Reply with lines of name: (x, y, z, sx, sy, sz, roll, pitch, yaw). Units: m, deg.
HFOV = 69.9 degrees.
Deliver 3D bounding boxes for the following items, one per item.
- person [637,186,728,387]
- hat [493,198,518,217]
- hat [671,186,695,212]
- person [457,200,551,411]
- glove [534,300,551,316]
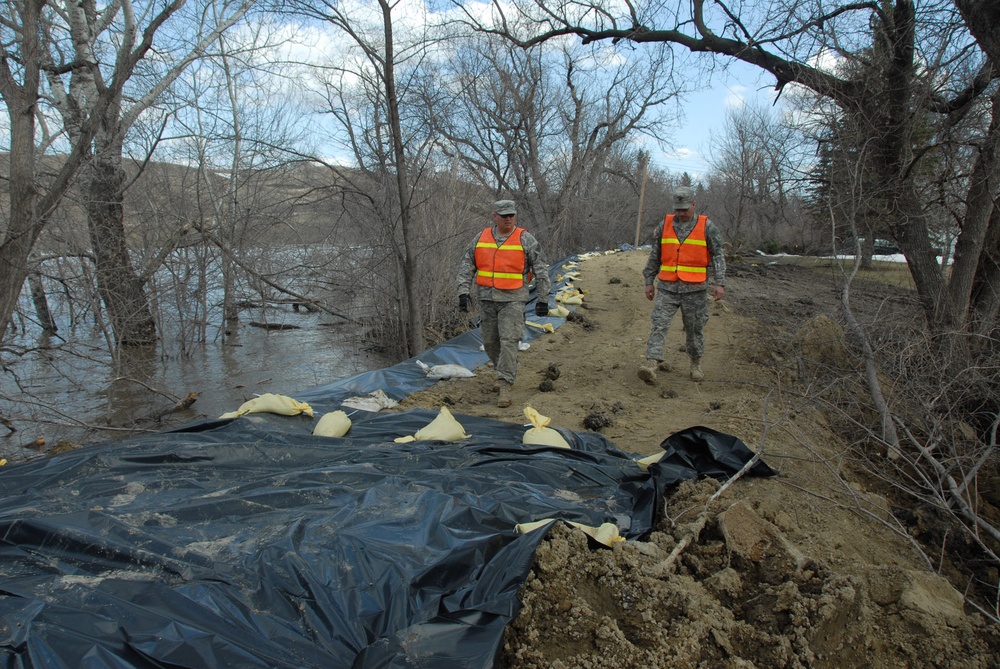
person: (2.384, -0.627, 9.432, 1.025, 2.543, 0.745, 0, 5, 14)
hat: (0.080, -1.653, 9.503, 0.399, 0.227, 0.502, -4, 11, -8)
hat: (2.343, -1.734, 9.196, 0.235, 0.315, 0.277, 0, 5, 12)
person: (0.026, -0.490, 9.612, 1.171, 2.607, 0.981, 0, 5, 12)
glove: (0.559, -0.316, 9.637, 0.208, 0.088, 0.242, 5, 41, 6)
